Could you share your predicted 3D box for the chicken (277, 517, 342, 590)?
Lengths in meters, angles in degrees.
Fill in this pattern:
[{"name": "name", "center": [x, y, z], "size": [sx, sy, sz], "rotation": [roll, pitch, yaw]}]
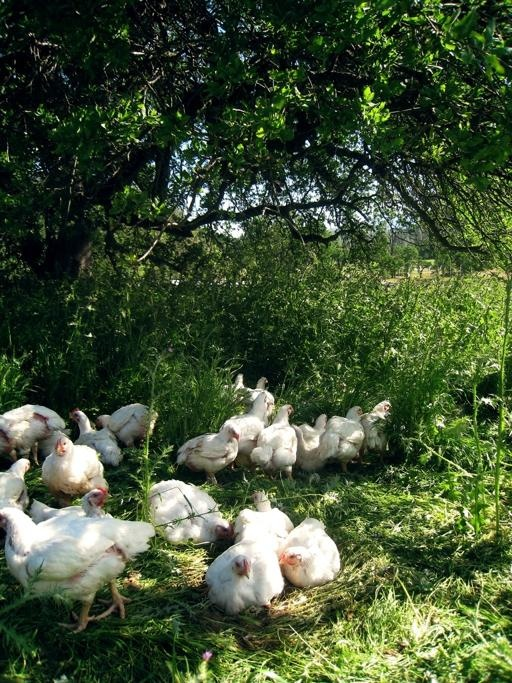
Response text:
[{"name": "chicken", "center": [0.320, 1.326, 3.805], "size": [0.343, 0.339, 0.369], "rotation": [-10, 2, -2]}]
